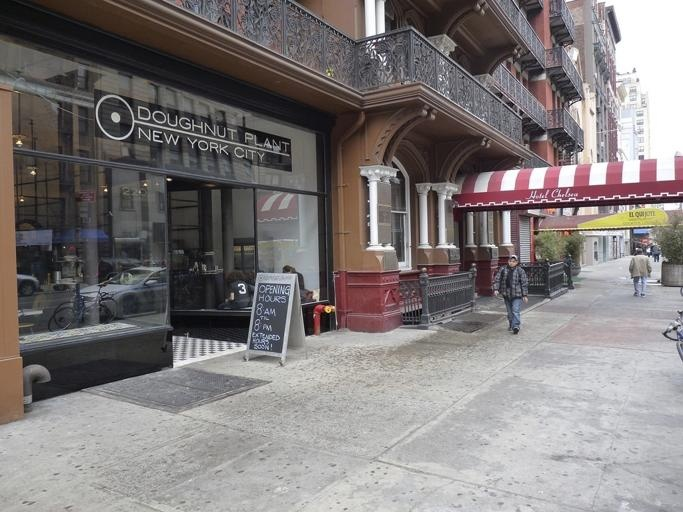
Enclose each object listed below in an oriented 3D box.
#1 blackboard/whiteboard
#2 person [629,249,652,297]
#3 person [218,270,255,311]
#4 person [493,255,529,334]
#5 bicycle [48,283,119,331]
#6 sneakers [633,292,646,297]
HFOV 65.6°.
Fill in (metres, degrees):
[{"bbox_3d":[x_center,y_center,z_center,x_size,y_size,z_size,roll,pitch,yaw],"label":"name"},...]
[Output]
[{"bbox_3d":[-1.327,1.129,9.821,0.957,1.613,0.617,3,6,33],"label":"blackboard/whiteboard"},{"bbox_3d":[11.456,0.671,20.249,0.642,1.590,3.200,3,6,29],"label":"person"},{"bbox_3d":[-2.529,0.779,12.802,0.653,0.858,0.908,-8,-5,-25],"label":"person"},{"bbox_3d":[4.023,0.858,12.358,0.642,1.754,1.021,-1,5,-5],"label":"person"},{"bbox_3d":[-4.111,0.832,8.434,0.410,0.502,0.852,-19,-2,41],"label":"bicycle"},{"bbox_3d":[10.847,1.392,19.163,0.520,0.229,0.174,9,-12,-37],"label":"sneakers"}]
